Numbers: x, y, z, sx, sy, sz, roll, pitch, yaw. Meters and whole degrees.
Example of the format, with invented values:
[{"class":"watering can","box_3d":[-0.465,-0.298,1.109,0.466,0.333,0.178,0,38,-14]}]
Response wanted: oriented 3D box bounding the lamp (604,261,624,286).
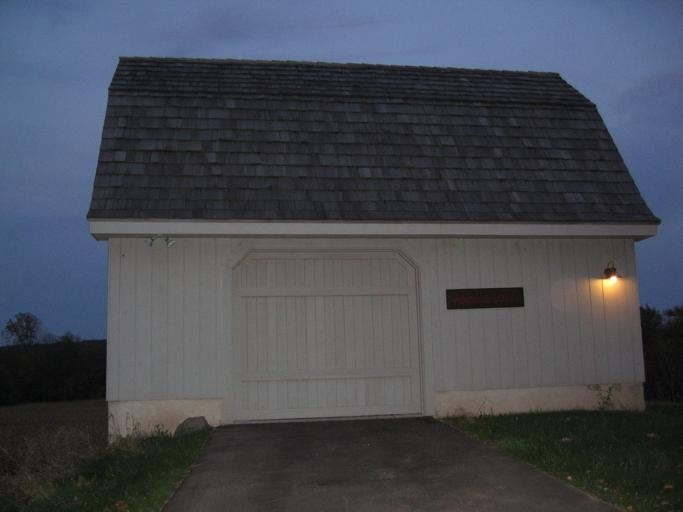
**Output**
[{"class":"lamp","box_3d":[6.228,0.404,14.506,0.405,0.531,0.429,6,-12,-31]}]
